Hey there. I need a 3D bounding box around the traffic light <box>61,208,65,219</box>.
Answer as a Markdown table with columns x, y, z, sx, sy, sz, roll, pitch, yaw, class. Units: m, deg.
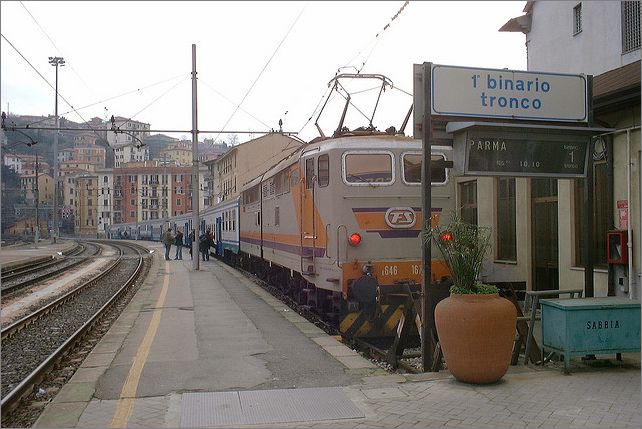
| x | y | z | sx | sy | sz | roll | pitch | yaw | class |
| --- | --- | --- | --- | --- | --- | --- | --- | --- | --- |
| -46.724 | -0.208 | 104.464 | 1.215 | 1.810 | 0.409 | -4 | 1 | 43 | traffic light |
